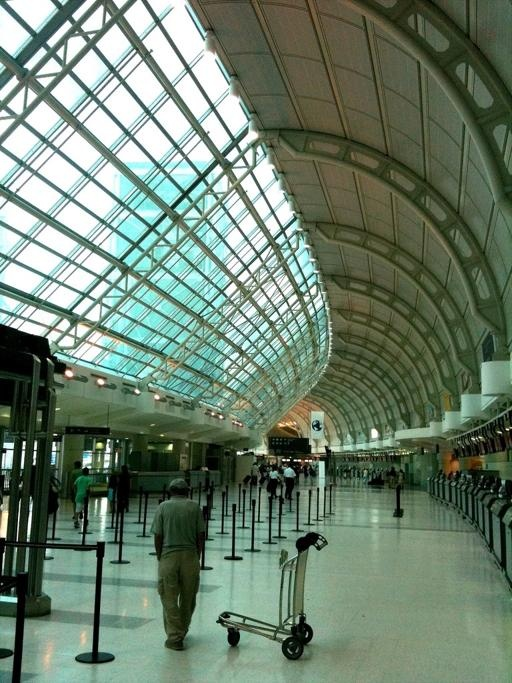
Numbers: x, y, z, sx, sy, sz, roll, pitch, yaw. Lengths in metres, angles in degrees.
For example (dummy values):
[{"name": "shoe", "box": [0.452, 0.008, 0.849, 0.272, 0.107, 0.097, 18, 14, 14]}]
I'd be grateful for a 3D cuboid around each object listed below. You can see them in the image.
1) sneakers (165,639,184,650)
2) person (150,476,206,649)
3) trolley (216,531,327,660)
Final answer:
[{"name": "sneakers", "box": [-0.807, 3.028, 5.576, 0.195, 0.089, 0.177, 1, -11, -9]}, {"name": "person", "box": [-0.878, 2.348, 5.987, 0.550, 1.664, 0.645, -2, -12, 10]}, {"name": "trolley", "box": [0.151, 2.729, 6.098, 1.180, 1.125, 0.666, -2, -18, 11]}]
